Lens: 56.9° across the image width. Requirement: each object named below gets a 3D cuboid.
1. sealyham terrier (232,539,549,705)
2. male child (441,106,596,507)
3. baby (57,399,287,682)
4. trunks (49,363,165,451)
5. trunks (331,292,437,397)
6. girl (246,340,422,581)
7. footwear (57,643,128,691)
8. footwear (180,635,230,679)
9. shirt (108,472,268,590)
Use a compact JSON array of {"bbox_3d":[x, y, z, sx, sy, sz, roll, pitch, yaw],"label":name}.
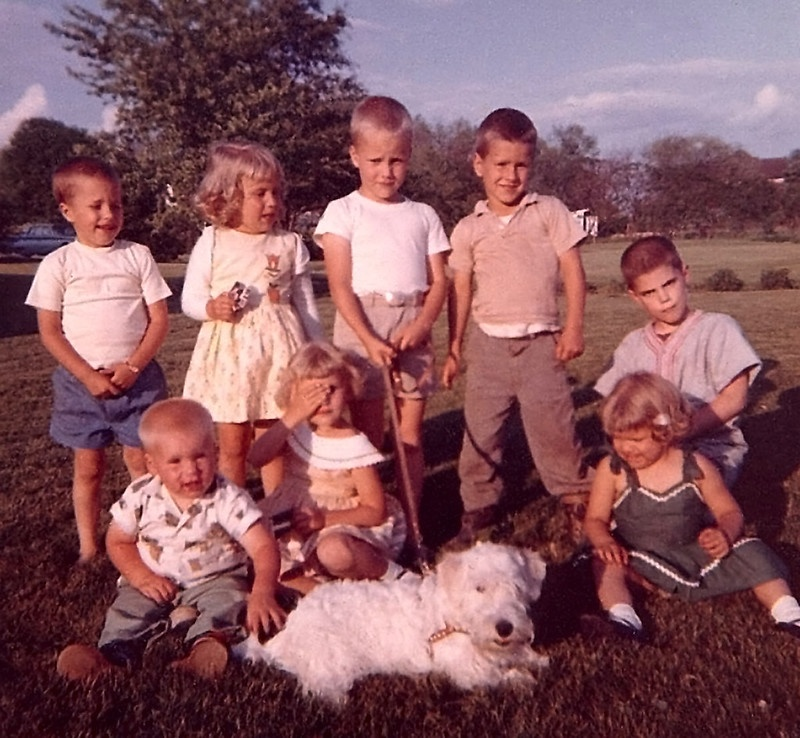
[{"bbox_3d":[0.004,0.952,2.701,0.899,0.519,0.568,-6,-3,-7],"label":"sealyham terrier"},{"bbox_3d":[0.680,-0.304,4.322,0.837,2.367,1.037,-1,20,-4],"label":"male child"},{"bbox_3d":[-0.936,0.696,3.149,0.713,1.072,0.989,-2,6,-21],"label":"baby"},{"bbox_3d":[-1.584,0.034,4.100,0.633,0.731,0.402,1,6,-18],"label":"trunks"},{"bbox_3d":[-0.037,-0.105,4.304,0.664,0.852,0.459,-1,4,-18],"label":"trunks"},{"bbox_3d":[-0.402,0.497,3.844,1.043,1.279,0.741,5,7,28],"label":"girl"},{"bbox_3d":[-1.178,1.099,2.807,0.163,0.102,0.143,17,0,11],"label":"footwear"},{"bbox_3d":[-0.735,1.093,2.787,0.179,0.049,0.180,-10,25,-22],"label":"footwear"},{"bbox_3d":[-0.963,0.659,3.364,0.676,0.598,0.434,3,-3,5],"label":"shirt"}]
